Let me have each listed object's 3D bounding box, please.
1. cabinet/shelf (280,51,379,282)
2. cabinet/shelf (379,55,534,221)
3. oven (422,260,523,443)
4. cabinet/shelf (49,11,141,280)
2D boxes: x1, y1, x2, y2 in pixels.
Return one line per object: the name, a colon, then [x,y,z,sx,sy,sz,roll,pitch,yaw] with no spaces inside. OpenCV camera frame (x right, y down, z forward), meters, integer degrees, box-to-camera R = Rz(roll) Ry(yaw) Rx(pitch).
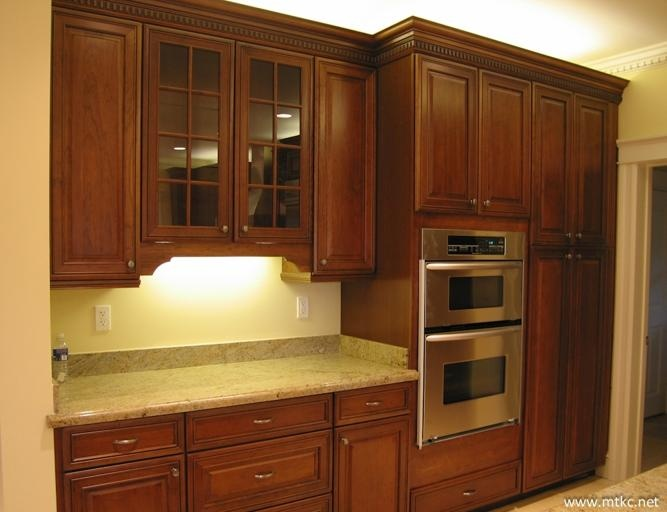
cabinet/shelf: [0.112,-0.471,3.594,0.364,1.231,0.517,0,-5,8]
cabinet/shelf: [0.684,-0.705,3.378,1.041,0.870,0.391,0,-1,-36]
oven: [0.703,0.525,3.719,0.815,1.092,0.745,-2,4,-27]
cabinet/shelf: [-1.160,-0.508,2.790,0.135,1.312,0.450,8,8,44]
